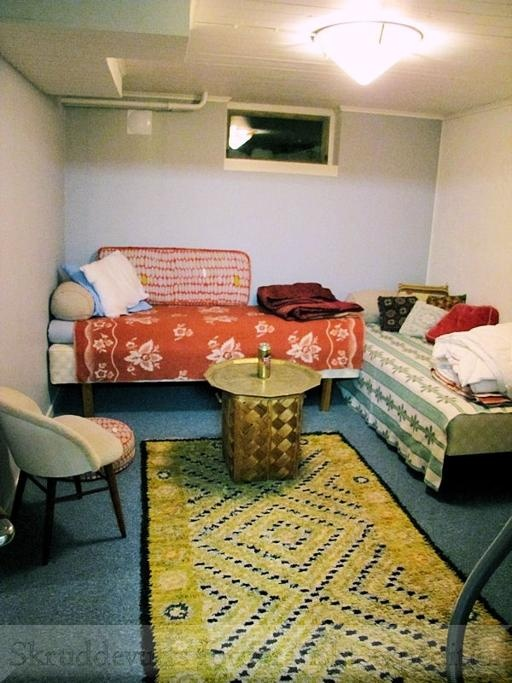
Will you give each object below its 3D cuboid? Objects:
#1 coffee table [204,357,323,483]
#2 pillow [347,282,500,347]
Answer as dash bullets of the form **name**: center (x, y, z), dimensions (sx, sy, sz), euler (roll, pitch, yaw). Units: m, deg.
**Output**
- **coffee table**: center (0.167, 0.478, 3.043), dimensions (0.652, 0.472, 0.612), euler (0, -12, 10)
- **pillow**: center (1.216, -0.196, 4.183), dimensions (0.642, 0.234, 0.586), euler (-1, 11, -3)
